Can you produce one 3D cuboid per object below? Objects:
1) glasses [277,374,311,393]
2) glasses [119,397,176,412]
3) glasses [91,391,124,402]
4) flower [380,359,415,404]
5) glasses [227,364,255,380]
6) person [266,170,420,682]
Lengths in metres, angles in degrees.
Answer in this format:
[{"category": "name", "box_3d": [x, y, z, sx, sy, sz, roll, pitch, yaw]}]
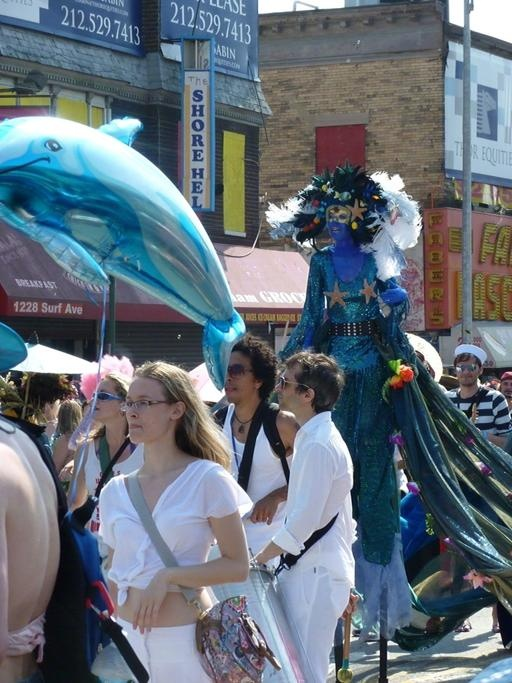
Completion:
[{"category": "glasses", "box_3d": [0.148, 0.168, 4.966, 0.093, 0.029, 0.091, 27, -2, -14]}, {"category": "glasses", "box_3d": [-0.368, 0.209, 3.988, 0.151, 0.048, 0.057, 2, 2, 12]}, {"category": "glasses", "box_3d": [-0.656, 0.234, 5.298, 0.104, 0.030, 0.089, 20, -15, -41]}, {"category": "flower", "box_3d": [0.738, 0.197, 6.288, 0.088, 0.225, 0.202, -1, 3, -36]}, {"category": "glasses", "box_3d": [-0.080, 0.120, 5.357, 0.075, 0.033, 0.076, -1, -38, 2]}, {"category": "person", "box_3d": [0.461, 0.314, 6.377, 0.880, 2.416, 0.918, -1, -1, -39]}]
